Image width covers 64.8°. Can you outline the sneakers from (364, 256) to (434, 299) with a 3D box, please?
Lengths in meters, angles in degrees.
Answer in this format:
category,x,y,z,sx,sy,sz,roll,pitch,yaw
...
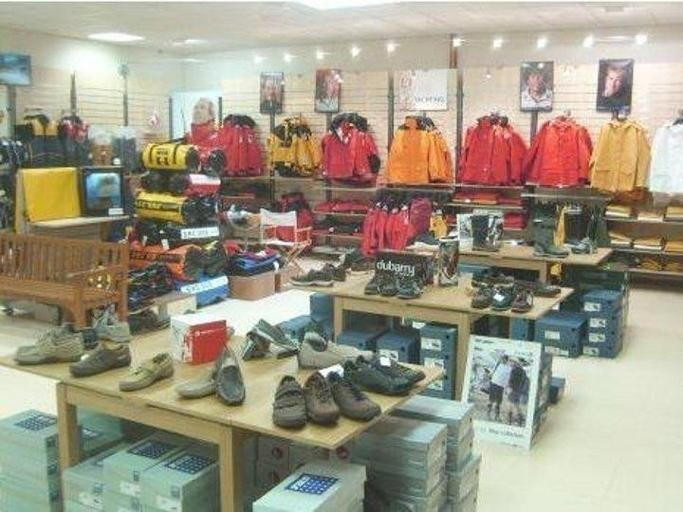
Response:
category,x,y,z,sx,sy,sz,roll,pitch,yaw
sneakers,0.449,0.135,4.131,0.309,0.198,0.427,8,13,27

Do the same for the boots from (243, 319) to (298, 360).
category,x,y,z,sx,sy,sz,roll,pitch,yaw
boots,-0.325,0.453,2.927,0.132,0.153,0.399,7,2,35

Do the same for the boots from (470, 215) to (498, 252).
category,x,y,z,sx,sy,sz,roll,pitch,yaw
boots,1.440,-0.252,5.347,0.267,0.351,0.392,4,12,16

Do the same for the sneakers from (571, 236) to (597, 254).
category,x,y,z,sx,sy,sz,roll,pitch,yaw
sneakers,2.496,-0.115,5.504,0.171,0.092,0.219,7,11,43

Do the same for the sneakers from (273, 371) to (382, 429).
category,x,y,z,sx,sy,sz,roll,pitch,yaw
sneakers,-0.105,0.563,2.204,0.220,0.093,0.272,-4,1,-34

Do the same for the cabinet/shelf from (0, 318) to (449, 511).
category,x,y,z,sx,sy,sz,roll,pitch,yaw
cabinet/shelf,-0.629,0.809,2.504,1.601,0.503,0.700,8,14,32

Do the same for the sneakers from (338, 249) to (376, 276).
category,x,y,z,sx,sy,sz,roll,pitch,yaw
sneakers,0.128,0.058,5.147,0.148,0.177,0.443,0,0,31

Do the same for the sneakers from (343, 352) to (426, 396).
category,x,y,z,sx,sy,sz,roll,pitch,yaw
sneakers,0.178,0.534,2.429,0.257,0.085,0.186,7,7,20

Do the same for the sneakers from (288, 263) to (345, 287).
category,x,y,z,sx,sy,sz,roll,pitch,yaw
sneakers,-0.175,0.157,4.421,0.502,0.180,0.168,0,6,1

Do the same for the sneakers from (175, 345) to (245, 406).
category,x,y,z,sx,sy,sz,roll,pitch,yaw
sneakers,-0.555,0.525,2.399,0.306,0.148,0.301,2,12,6

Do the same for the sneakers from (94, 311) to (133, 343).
category,x,y,z,sx,sy,sz,roll,pitch,yaw
sneakers,-1.247,0.401,3.032,0.273,0.161,0.106,4,8,26

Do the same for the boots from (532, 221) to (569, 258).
category,x,y,z,sx,sy,sz,roll,pitch,yaw
boots,2.071,-0.170,5.240,0.204,0.370,0.406,-10,16,-34

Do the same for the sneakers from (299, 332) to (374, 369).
category,x,y,z,sx,sy,sz,roll,pitch,yaw
sneakers,0.006,0.467,2.687,0.453,0.172,0.146,1,12,5
